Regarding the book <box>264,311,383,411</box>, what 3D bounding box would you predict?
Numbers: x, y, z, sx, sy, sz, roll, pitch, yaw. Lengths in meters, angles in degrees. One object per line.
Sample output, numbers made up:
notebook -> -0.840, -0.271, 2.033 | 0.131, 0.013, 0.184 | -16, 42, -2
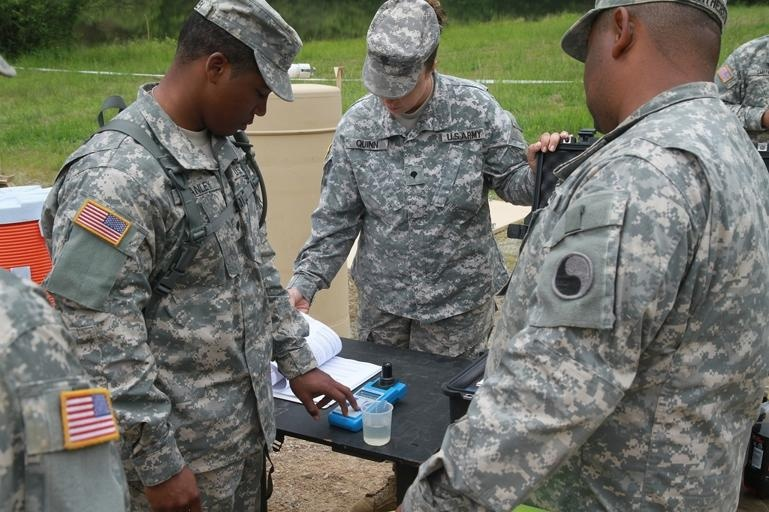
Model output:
book -> -0.231, 0.462, 3.931 | 0.397, 0.135, 0.392 | 10, 17, 26

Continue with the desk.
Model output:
desk -> -0.037, 0.629, 3.657 | 0.597, 0.374, 0.612 | 6, 15, 24
